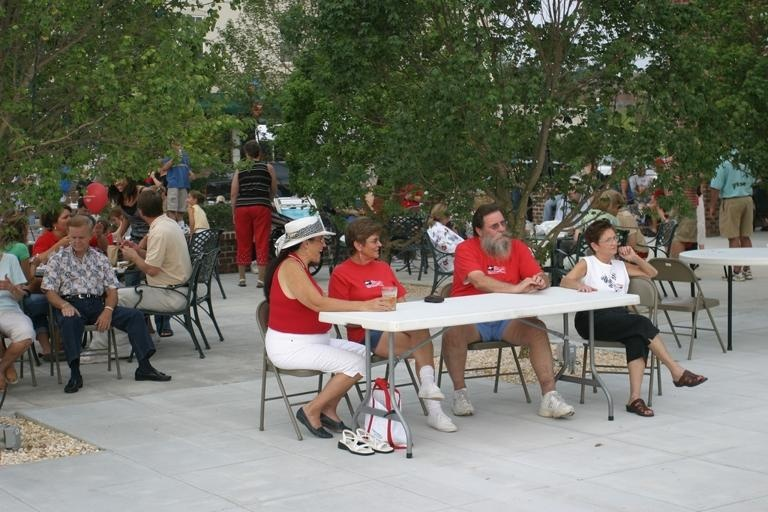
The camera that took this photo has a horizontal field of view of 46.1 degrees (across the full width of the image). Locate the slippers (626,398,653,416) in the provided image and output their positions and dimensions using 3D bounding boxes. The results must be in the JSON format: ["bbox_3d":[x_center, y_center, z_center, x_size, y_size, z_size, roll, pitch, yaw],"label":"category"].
[{"bbox_3d":[2.329,1.391,8.252,0.121,0.099,0.241,-6,4,-42],"label":"slippers"}]

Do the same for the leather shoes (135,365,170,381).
[{"bbox_3d":[-2.525,1.282,9.781,0.468,0.175,0.148,-1,-1,6],"label":"leather shoes"}]

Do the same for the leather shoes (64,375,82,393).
[{"bbox_3d":[-3.240,1.329,9.360,0.179,0.131,0.235,-3,-2,-19],"label":"leather shoes"}]

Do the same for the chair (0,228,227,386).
[{"bbox_3d":[-3.062,0.488,9.734,0.980,1.379,2.192,-5,-2,29],"label":"chair"}]

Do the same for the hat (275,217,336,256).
[{"bbox_3d":[-0.751,-0.120,7.970,0.414,0.142,0.349,-22,-1,30],"label":"hat"}]

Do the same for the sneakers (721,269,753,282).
[{"bbox_3d":[5.860,0.335,14.940,0.180,0.177,0.433,-2,7,-18],"label":"sneakers"}]

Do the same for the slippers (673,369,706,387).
[{"bbox_3d":[2.844,1.143,8.377,0.282,0.108,0.140,-5,3,20],"label":"slippers"}]

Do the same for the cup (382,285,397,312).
[{"bbox_3d":[0.042,0.363,7.772,0.124,0.169,0.296,-4,-2,0],"label":"cup"}]

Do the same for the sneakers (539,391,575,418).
[{"bbox_3d":[1.545,1.371,8.252,0.373,0.199,0.175,-3,-2,42],"label":"sneakers"}]
